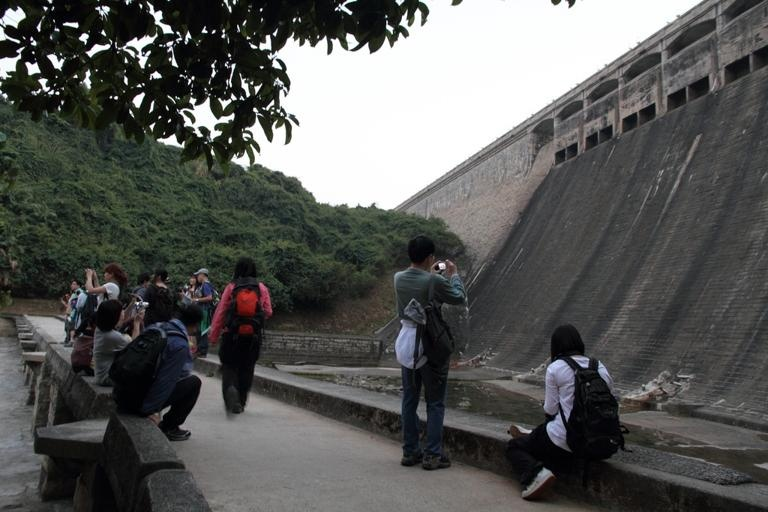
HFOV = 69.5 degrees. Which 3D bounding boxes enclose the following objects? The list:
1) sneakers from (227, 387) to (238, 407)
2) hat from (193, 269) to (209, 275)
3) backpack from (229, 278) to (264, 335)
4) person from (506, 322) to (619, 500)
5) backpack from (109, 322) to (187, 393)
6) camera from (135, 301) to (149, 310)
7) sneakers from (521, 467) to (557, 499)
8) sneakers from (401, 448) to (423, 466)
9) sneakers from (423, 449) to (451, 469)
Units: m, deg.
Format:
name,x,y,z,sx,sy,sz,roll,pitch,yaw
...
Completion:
name,x,y,z,sx,sy,sz,roll,pitch,yaw
sneakers,-1.864,1.714,6.810,0.129,0.238,0.085,-16,-19,38
hat,-4.215,0.345,12.787,0.374,0.139,0.248,1,-2,37
backpack,-1.662,0.605,6.754,0.436,0.703,0.237,10,-6,-16
person,1.893,1.452,5.400,1.111,1.412,1.507,-2,-9,-12
backpack,-2.320,1.018,5.478,0.506,0.706,0.415,15,-26,25
camera,-3.258,0.652,7.514,0.151,0.087,0.203,2,-1,-33
sneakers,1.395,2.027,4.951,0.156,0.182,0.402,-25,-17,-50
sneakers,0.288,2.000,5.574,0.099,0.126,0.261,0,-2,34
sneakers,0.517,2.007,5.504,0.299,0.148,0.125,1,-1,-38
